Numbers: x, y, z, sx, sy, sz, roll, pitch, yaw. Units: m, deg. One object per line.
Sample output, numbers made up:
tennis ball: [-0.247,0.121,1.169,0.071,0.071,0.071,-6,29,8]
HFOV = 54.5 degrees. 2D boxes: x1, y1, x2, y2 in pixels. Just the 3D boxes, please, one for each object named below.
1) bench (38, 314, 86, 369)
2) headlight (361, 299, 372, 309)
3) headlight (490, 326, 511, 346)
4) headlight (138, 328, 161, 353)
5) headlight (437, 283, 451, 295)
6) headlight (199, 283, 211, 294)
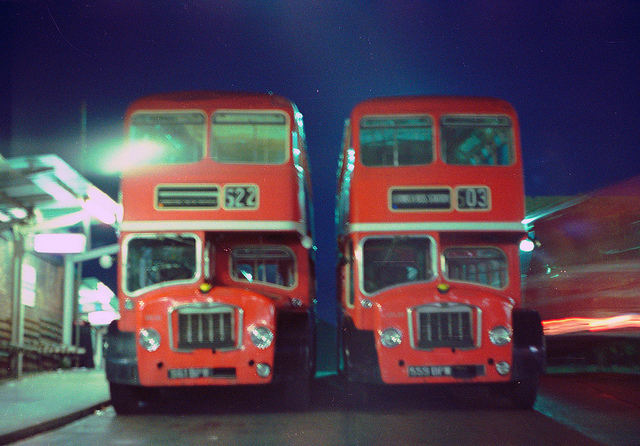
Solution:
bench: [-7.822,3.333,18.536,0.545,1.340,2.713,1,-7,-8]
headlight: [0.816,1.426,10.982,0.110,0.161,0.042,2,-34,7]
headlight: [3.035,1.888,10.481,0.353,0.321,0.069,2,-7,-15]
headlight: [-2.868,1.934,10.454,0.308,0.374,0.222,-13,-7,8]
headlight: [2.125,1.132,10.728,0.203,0.174,0.156,-1,-7,10]
headlight: [-1.972,1.082,10.601,0.147,0.155,0.157,0,-61,-4]
